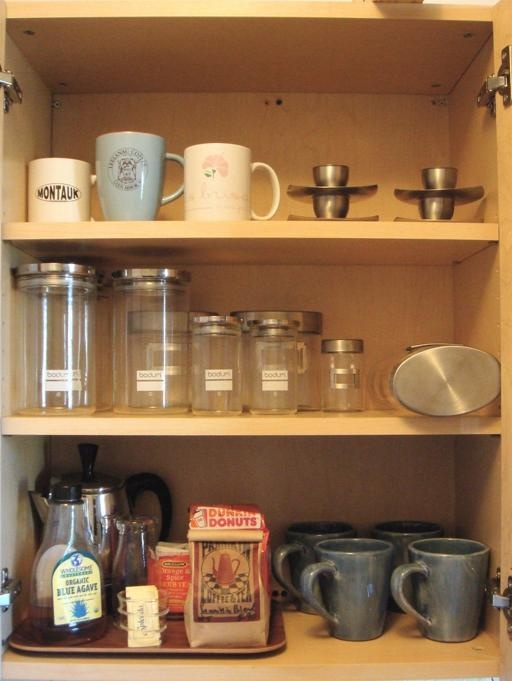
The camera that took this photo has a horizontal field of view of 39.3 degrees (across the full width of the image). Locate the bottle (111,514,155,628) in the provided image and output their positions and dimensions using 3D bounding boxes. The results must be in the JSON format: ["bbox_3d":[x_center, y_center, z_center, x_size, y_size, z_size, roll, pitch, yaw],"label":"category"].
[{"bbox_3d":[-0.185,0.329,1.015,0.065,0.139,0.114,0,-3,4],"label":"bottle"}]

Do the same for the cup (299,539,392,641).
[{"bbox_3d":[0.135,0.353,1.035,0.124,0.126,0.175,0,-3,9],"label":"cup"}]

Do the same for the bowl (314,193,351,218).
[{"bbox_3d":[0.111,-0.195,1.051,0.040,0.026,0.041,1,1,0],"label":"bowl"}]

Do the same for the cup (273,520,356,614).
[{"bbox_3d":[0.084,0.340,1.102,0.153,0.121,0.099,2,-4,-44],"label":"cup"}]

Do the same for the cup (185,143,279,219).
[{"bbox_3d":[-0.048,-0.221,1.052,0.155,0.104,0.093,2,-2,-25],"label":"cup"}]

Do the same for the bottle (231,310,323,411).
[{"bbox_3d":[0.054,0.033,1.120,0.167,0.160,0.156,0,-4,-1],"label":"bottle"}]

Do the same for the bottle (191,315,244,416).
[{"bbox_3d":[-0.059,0.038,1.068,0.075,0.143,0.102,0,-3,-6],"label":"bottle"}]

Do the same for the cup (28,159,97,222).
[{"bbox_3d":[-0.280,-0.214,1.025,0.121,0.075,0.072,0,-1,10],"label":"cup"}]

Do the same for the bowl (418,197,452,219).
[{"bbox_3d":[0.266,-0.192,1.057,0.040,0.024,0.034,3,-4,-2],"label":"bowl"}]

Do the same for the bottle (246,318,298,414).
[{"bbox_3d":[0.027,0.039,1.074,0.075,0.138,0.090,0,-3,-1],"label":"bottle"}]

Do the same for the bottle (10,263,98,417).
[{"bbox_3d":[-0.291,-0.001,1.045,0.119,0.212,0.103,1,-3,-19],"label":"bottle"}]

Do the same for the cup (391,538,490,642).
[{"bbox_3d":[0.261,0.339,1.014,0.166,0.110,0.105,1,-3,-38],"label":"cup"}]

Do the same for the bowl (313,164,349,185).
[{"bbox_3d":[0.110,-0.240,1.044,0.040,0.023,0.035,1,0,6],"label":"bowl"}]

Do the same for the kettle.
[{"bbox_3d":[-0.241,0.270,1.094,0.285,0.277,0.182,3,-9,-19],"label":"kettle"}]
